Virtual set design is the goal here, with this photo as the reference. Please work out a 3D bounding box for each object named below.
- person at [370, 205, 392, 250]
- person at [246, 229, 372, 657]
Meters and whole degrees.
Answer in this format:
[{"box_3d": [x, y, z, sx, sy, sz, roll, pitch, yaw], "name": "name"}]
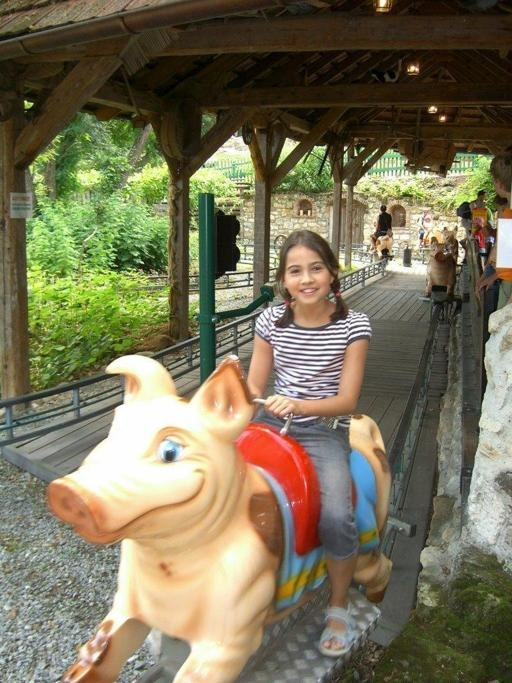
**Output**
[{"box_3d": [4.663, -4.312, 18.487, 0.562, 1.536, 2.599, -3, 13, 11], "name": "person"}, {"box_3d": [0.195, 0.302, 1.557, 0.397, 1.286, 0.593, -6, 12, -2], "name": "person"}]
